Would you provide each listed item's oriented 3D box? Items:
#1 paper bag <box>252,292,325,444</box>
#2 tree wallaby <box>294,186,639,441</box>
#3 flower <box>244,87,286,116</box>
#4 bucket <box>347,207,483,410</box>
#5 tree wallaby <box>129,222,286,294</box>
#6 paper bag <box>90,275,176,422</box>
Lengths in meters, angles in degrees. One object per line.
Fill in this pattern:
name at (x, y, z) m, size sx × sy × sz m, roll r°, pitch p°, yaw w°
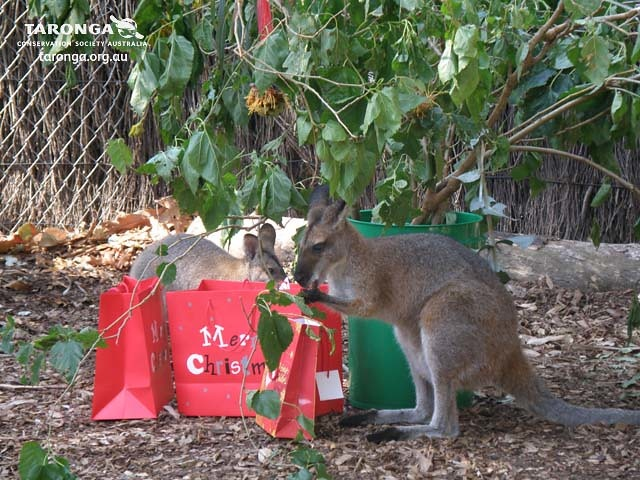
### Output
paper bag at (-0.203, 0.848, 5.402) m, size 0.411 × 0.846 × 0.480 m, roll 2°, pitch 1°, yaw 0°
tree wallaby at (0.775, 0.522, 5.588) m, size 1.894 × 1.536 × 0.560 m, roll 2°, pitch 1°, yaw -2°
flower at (-0.328, -0.835, 4.988) m, size 0.174 × 0.205 × 0.119 m, roll -2°, pitch 12°, yaw 6°
bucket at (0.472, 0.528, 6.380) m, size 1.079 × 1.324 × 1.215 m, roll 0°, pitch 3°, yaw -4°
tree wallaby at (-0.946, 0.205, 6.978) m, size 1.016 × 0.692 × 0.842 m, roll -5°, pitch 11°, yaw -34°
paper bag at (-1.228, 0.733, 5.655) m, size 0.557 × 0.955 × 0.474 m, roll 1°, pitch 1°, yaw -19°
